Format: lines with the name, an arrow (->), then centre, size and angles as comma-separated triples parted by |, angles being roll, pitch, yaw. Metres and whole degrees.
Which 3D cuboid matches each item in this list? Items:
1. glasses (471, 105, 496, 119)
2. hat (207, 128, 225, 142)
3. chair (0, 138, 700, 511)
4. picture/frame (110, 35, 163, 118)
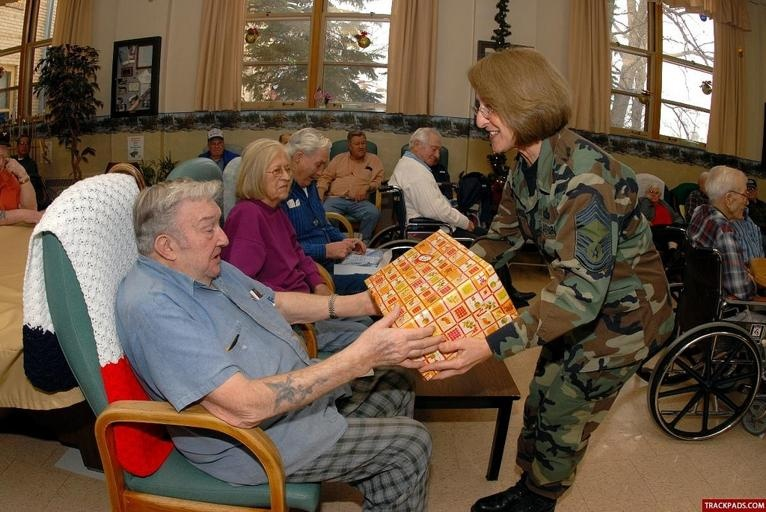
glasses -> 0.395, -0.580, 2.222 | 0.069, 0.031, 0.067 | 11, 17, -39
hat -> -2.065, -1.515, 6.913 | 0.206, 0.110, 0.341 | -2, 8, -13
chair -> -0.474, 0.330, 2.613 | 2.144, 1.363, 1.492 | 2, 19, 5
picture/frame -> -3.404, -2.528, 7.800 | 1.077, 1.320, 0.139 | 4, 3, 26
